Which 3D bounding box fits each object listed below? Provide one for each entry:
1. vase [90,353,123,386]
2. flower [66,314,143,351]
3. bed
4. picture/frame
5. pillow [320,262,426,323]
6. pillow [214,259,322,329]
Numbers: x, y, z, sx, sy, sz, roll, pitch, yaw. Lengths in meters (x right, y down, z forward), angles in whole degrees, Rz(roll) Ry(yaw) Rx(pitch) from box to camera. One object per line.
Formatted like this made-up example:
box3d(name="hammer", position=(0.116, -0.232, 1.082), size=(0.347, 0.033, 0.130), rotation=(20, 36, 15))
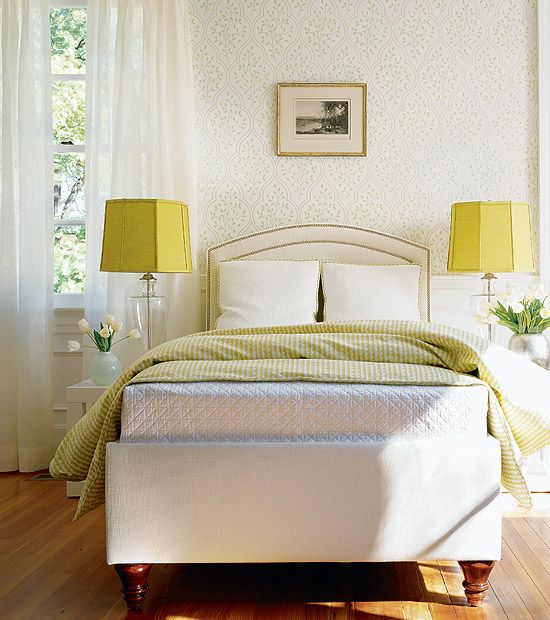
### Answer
box3d(name="vase", position=(-0.782, 0.276, 2.721), size=(0.209, 0.156, 0.120), rotation=(-2, -2, 43))
box3d(name="flower", position=(-0.794, 0.134, 2.855), size=(0.295, 0.172, 0.277), rotation=(5, 3, -42))
box3d(name="bed", position=(0.194, 0.123, 2.541), size=(1.095, 0.969, 1.461), rotation=(0, -2, 1))
box3d(name="picture/frame", position=(0.291, -1.140, 3.407), size=(0.427, 0.351, 0.032), rotation=(0, 0, 1))
box3d(name="pillow", position=(0.504, -0.103, 3.002), size=(0.519, 0.305, 0.343), rotation=(-1, -1, 7))
box3d(name="pillow", position=(-0.026, -0.088, 3.004), size=(0.550, 0.357, 0.323), rotation=(-1, -1, -3))
